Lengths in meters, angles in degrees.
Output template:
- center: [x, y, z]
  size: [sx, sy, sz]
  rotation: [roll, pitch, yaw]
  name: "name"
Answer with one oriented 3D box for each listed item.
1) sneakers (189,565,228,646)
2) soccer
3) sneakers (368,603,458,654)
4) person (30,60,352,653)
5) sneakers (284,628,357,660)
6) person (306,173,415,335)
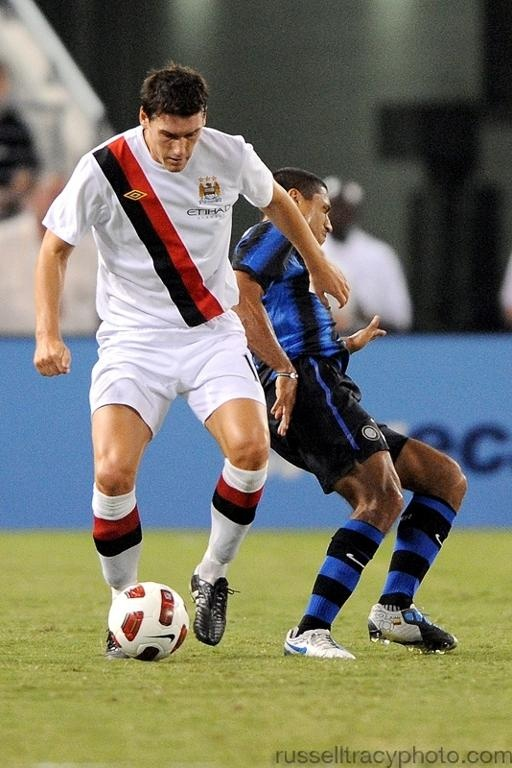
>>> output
- center: [-0.167, 0.659, 2.802]
  size: [0.078, 0.104, 0.222]
  rotation: [12, 45, -31]
  name: "sneakers"
- center: [-0.286, 0.627, 2.500]
  size: [0.241, 0.198, 0.204]
  rotation: [2, -17, -6]
  name: "soccer"
- center: [0.435, 0.707, 2.759]
  size: [0.314, 0.129, 0.101]
  rotation: [12, -17, -2]
  name: "sneakers"
- center: [-0.272, -0.006, 2.804]
  size: [0.825, 1.761, 0.841]
  rotation: [11, 27, 1]
  name: "person"
- center: [0.159, 0.710, 2.602]
  size: [0.214, 0.073, 0.072]
  rotation: [-1, -13, 30]
  name: "sneakers"
- center: [0.834, -0.965, 7.324]
  size: [0.462, 1.069, 1.210]
  rotation: [-19, 12, -40]
  name: "person"
